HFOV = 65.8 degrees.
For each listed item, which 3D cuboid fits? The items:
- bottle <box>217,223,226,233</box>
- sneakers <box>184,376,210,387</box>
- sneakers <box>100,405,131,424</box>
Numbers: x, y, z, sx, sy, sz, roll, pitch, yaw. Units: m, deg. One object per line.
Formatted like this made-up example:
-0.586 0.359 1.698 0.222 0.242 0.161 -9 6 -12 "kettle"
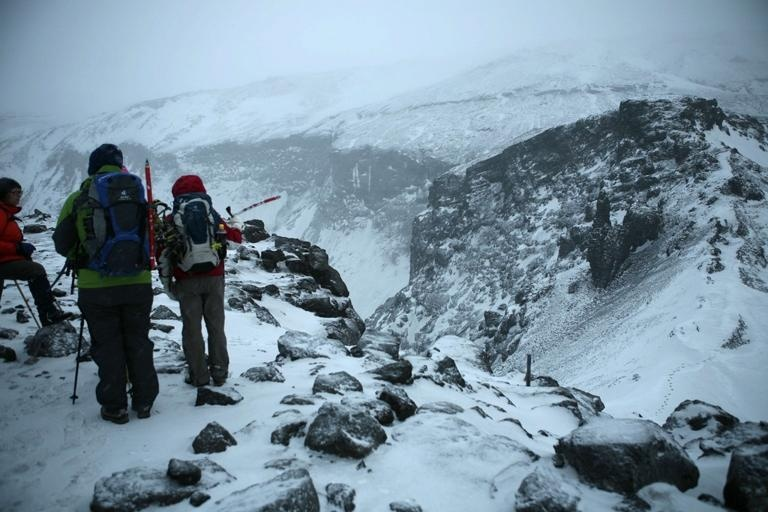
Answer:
-3.645 -0.620 13.321 0.188 0.168 0.181 0 -2 -7 "bottle"
-4.147 2.741 13.061 0.631 0.203 0.219 2 18 9 "sneakers"
-5.378 3.222 11.965 0.613 0.276 0.257 16 -1 13 "sneakers"
